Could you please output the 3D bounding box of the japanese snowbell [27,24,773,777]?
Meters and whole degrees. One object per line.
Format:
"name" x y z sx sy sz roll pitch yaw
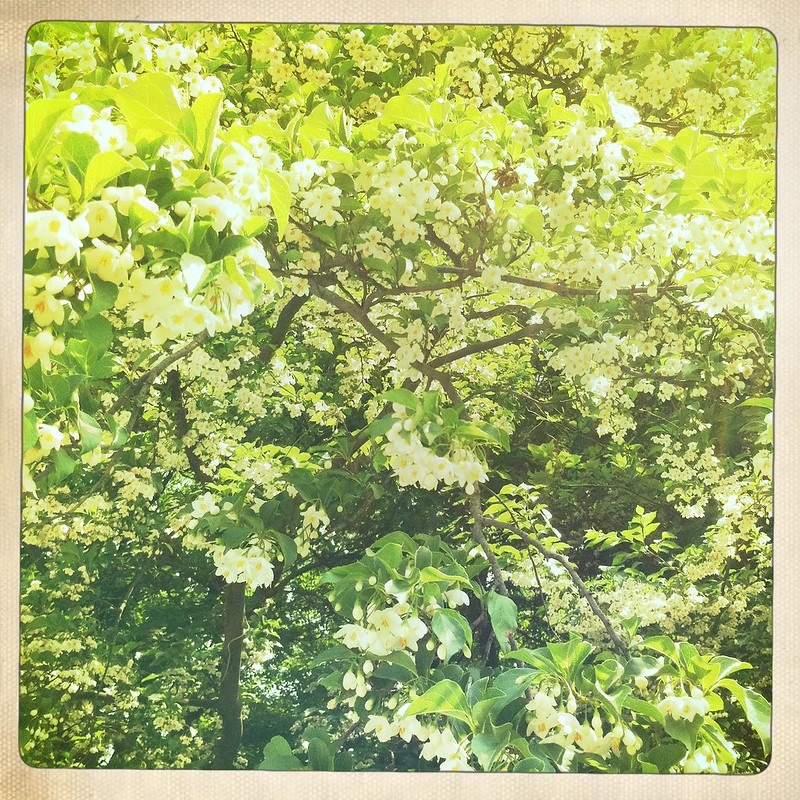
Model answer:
"japanese snowbell" 0.061 0.010 1.879 1.114 1.058 0.534 3 0 -1
